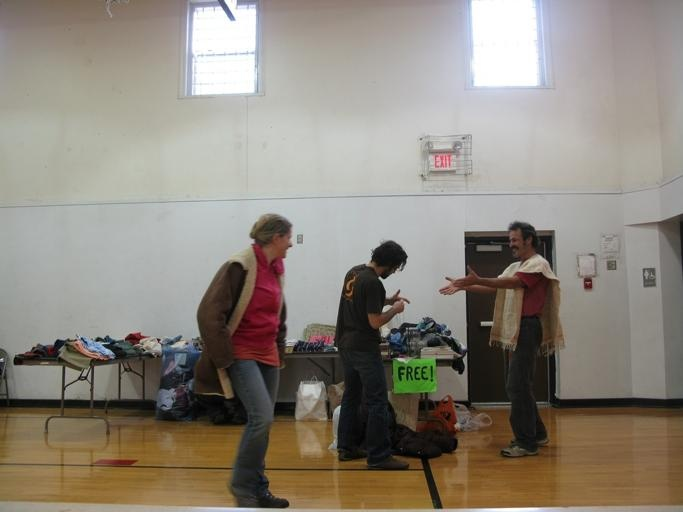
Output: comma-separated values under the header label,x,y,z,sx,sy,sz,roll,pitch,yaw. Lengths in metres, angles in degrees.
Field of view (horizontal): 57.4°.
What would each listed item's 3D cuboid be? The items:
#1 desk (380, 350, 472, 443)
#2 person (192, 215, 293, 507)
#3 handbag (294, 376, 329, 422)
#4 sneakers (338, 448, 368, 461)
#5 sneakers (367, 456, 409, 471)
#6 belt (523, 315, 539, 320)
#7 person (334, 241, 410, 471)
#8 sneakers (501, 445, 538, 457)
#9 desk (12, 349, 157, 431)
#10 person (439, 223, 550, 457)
label,x,y,z,sx,sy,sz,roll,pitch,yaw
desk,0.916,1.601,7.075,0.859,0.871,0.903,-1,-4,10
person,-0.772,0.818,4.972,0.764,2.337,0.306,0,-3,-14
handbag,-0.339,1.806,7.830,0.476,0.677,0.377,1,-22,-1
sneakers,0.103,1.889,5.995,0.299,0.134,0.110,0,-2,-34
sneakers,0.436,1.878,5.731,0.360,0.153,0.149,-1,-6,-4
belt,1.853,0.586,6.088,0.177,0.031,0.025,0,-3,-13
person,0.276,0.911,5.906,0.655,2.097,0.723,-1,-3,-3
sneakers,1.742,1.866,6.075,0.336,0.160,0.132,3,-10,1
desk,-3.038,1.582,7.665,1.399,0.854,1.484,-1,-3,1
person,1.695,0.794,6.244,1.014,2.282,0.513,0,-3,-8
